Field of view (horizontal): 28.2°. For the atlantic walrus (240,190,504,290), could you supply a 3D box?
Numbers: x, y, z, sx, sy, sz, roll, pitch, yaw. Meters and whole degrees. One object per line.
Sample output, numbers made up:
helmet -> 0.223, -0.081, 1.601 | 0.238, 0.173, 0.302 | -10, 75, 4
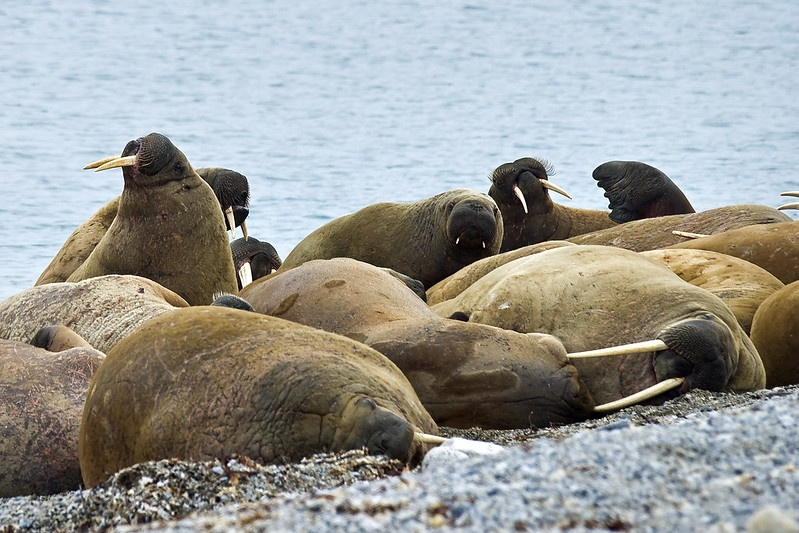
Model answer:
atlantic walrus -> -0.017, -0.155, 16.014 | 2.866, 0.981, 1.194 | -8, -8, 44

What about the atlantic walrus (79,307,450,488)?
atlantic walrus -> -0.876, 0.871, 9.376 | 2.115, 0.975, 0.929 | 4, 22, 17

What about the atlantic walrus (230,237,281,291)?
atlantic walrus -> -1.322, -0.001, 14.437 | 0.585, 0.420, 0.918 | 5, 2, -12

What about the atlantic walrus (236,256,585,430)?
atlantic walrus -> 0.113, 0.493, 10.770 | 1.371, 0.456, 1.634 | 14, 2, -41
